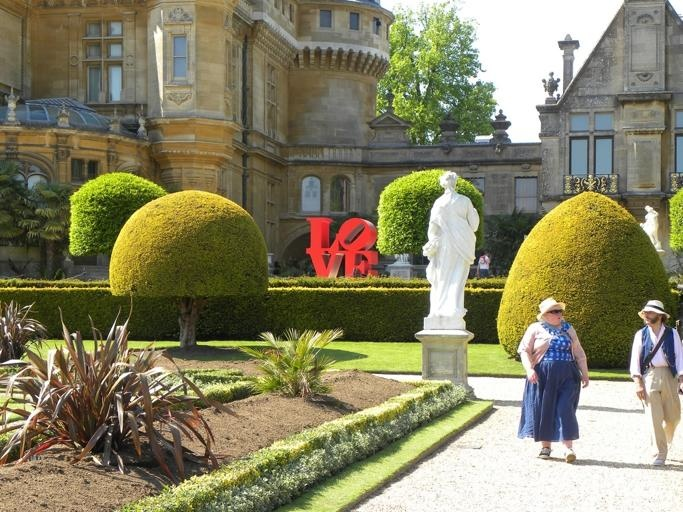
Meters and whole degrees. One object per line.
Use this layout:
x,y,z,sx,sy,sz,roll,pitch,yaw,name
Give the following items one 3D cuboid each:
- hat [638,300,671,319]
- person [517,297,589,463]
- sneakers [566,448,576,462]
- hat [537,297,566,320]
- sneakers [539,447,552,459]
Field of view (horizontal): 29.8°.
5.035,0.841,20.758,0.513,0.242,0.449,4,-1,13,hat
3.374,1.888,20.581,1.085,2.331,0.516,6,7,9,person
3.644,3.179,20.461,0.171,0.222,0.172,6,7,10,sneakers
3.315,0.868,20.804,0.418,0.177,0.451,-10,0,-19,hat
3.260,3.151,20.607,0.212,0.196,0.169,5,7,3,sneakers
